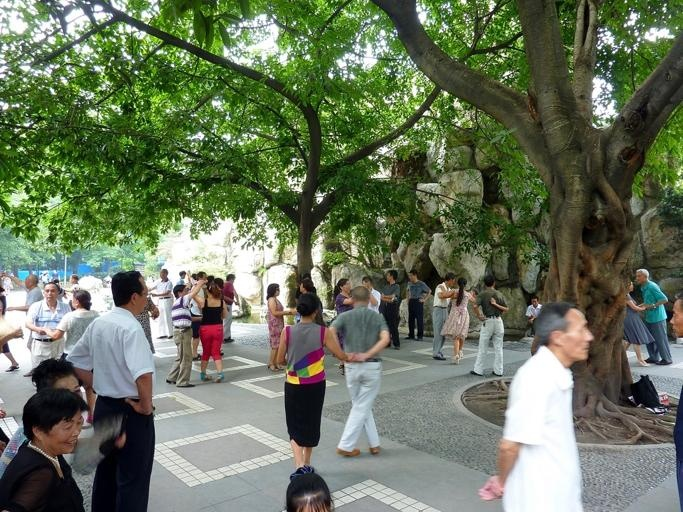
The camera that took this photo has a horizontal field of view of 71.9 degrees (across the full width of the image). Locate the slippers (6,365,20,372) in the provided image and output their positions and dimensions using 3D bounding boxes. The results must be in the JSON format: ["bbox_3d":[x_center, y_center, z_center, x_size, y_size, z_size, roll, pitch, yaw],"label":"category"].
[{"bbox_3d":[-7.326,2.461,10.394,0.219,0.093,0.100,3,-4,-38],"label":"slippers"}]

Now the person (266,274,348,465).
[{"bbox_3d":[-0.378,1.445,5.442,0.717,2.051,0.635,-1,-4,-8],"label":"person"}]

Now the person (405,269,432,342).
[{"bbox_3d":[2.429,1.580,15.143,0.658,2.194,1.463,-2,-4,8],"label":"person"}]

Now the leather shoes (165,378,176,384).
[{"bbox_3d":[-3.472,2.478,9.435,0.242,0.103,0.131,-3,-5,8],"label":"leather shoes"}]

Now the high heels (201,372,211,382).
[{"bbox_3d":[-2.875,2.482,9.773,0.106,0.146,0.346,2,3,7],"label":"high heels"}]

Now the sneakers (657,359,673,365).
[{"bbox_3d":[7.800,2.527,11.342,0.326,0.140,0.122,5,-12,3],"label":"sneakers"}]

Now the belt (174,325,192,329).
[{"bbox_3d":[-3.127,1.365,9.169,0.259,0.090,0.132,-2,-5,-2],"label":"belt"}]

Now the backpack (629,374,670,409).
[{"bbox_3d":[5.107,2.210,7.857,0.317,0.588,0.426,-22,17,-40],"label":"backpack"}]

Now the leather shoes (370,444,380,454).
[{"bbox_3d":[0.445,2.509,6.131,0.062,0.125,0.184,-6,-17,30],"label":"leather shoes"}]

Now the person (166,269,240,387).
[{"bbox_3d":[-2.982,1.483,9.648,1.103,2.156,1.053,-1,-4,-17],"label":"person"}]

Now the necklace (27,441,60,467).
[{"bbox_3d":[-1.981,1.302,3.098,0.191,0.187,0.216,1,-5,-33],"label":"necklace"}]

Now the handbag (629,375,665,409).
[{"bbox_3d":[5.044,2.205,7.760,0.462,0.503,0.370,-5,-5,32],"label":"handbag"}]

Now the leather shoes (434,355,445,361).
[{"bbox_3d":[2.514,2.598,12.052,0.313,0.134,0.107,0,-5,1],"label":"leather shoes"}]

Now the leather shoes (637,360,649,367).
[{"bbox_3d":[7.246,2.562,11.306,0.292,0.206,0.103,-4,-4,16],"label":"leather shoes"}]

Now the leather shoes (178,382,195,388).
[{"bbox_3d":[-3.080,2.504,9.255,0.318,0.126,0.106,1,-1,-14],"label":"leather shoes"}]
